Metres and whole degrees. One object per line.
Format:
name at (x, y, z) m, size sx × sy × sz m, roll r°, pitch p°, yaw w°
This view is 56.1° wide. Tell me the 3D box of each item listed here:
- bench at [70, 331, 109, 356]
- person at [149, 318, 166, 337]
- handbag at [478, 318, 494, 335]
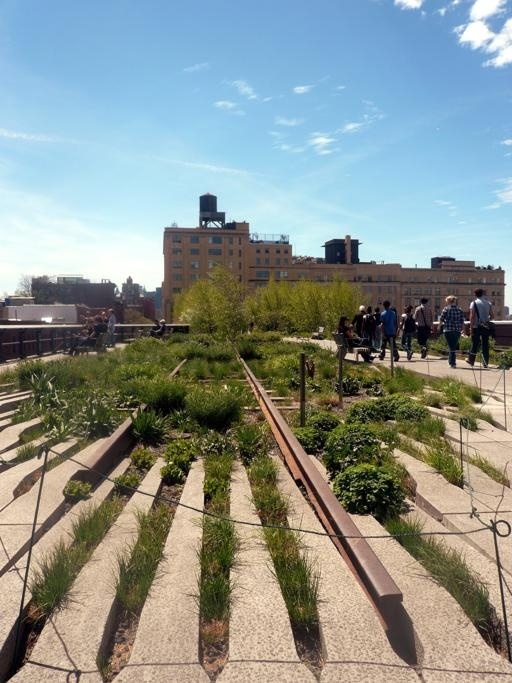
bench at (-7.446, 0.125, 18.887) m, size 1.573 × 1.186 × 1.002 m, roll 1°, pitch -2°, yaw 14°
person at (-6.856, -0.756, 29.835) m, size 0.810 × 1.085 × 3.939 m, roll 0°, pitch 3°, yaw -14°
handbag at (6.168, -0.361, 12.269) m, size 0.305 × 0.428 × 0.412 m, roll -2°, pitch -10°, yaw 10°
